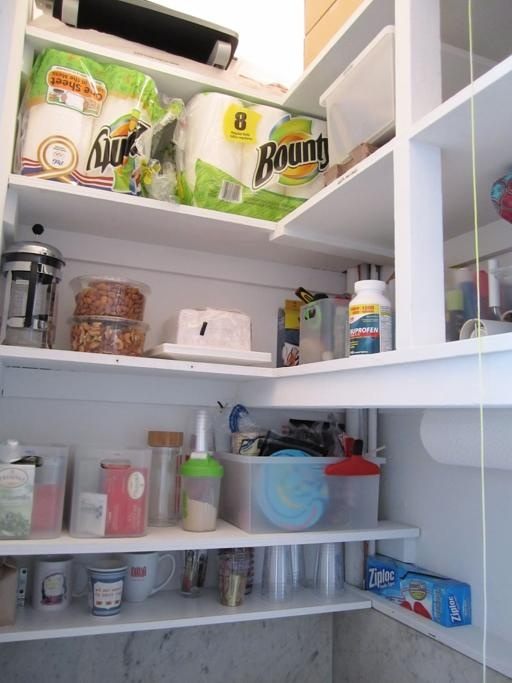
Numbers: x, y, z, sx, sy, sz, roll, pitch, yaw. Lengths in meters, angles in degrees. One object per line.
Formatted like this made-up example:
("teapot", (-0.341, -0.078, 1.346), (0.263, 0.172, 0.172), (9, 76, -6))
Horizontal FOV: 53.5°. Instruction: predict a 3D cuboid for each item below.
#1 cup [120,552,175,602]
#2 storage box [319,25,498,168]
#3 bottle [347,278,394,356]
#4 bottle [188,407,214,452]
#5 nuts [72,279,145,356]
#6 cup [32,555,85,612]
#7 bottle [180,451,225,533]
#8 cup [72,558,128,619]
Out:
("cup", (-0.223, 0.481, 1.075), (0.126, 0.116, 0.081), (10, -17, -38))
("storage box", (0.232, -0.403, 0.864), (0.161, 0.115, 0.231), (9, -23, -23))
("bottle", (0.176, -0.034, 0.786), (0.062, 0.113, 0.064), (0, -3, 0))
("bottle", (-0.123, 0.199, 1.122), (0.058, 0.091, 0.058), (-1, -16, 0))
("nuts", (-0.278, -0.032, 1.005), (0.135, 0.124, 0.136), (7, -9, -33))
("cup", (-0.389, 0.456, 0.976), (0.075, 0.090, 0.078), (0, -7, 0))
("bottle", (-0.114, 0.296, 1.010), (0.091, 0.145, 0.093), (2, -11, 0))
("cup", (-0.282, 0.462, 0.961), (0.082, 0.083, 0.093), (6, -11, -26))
